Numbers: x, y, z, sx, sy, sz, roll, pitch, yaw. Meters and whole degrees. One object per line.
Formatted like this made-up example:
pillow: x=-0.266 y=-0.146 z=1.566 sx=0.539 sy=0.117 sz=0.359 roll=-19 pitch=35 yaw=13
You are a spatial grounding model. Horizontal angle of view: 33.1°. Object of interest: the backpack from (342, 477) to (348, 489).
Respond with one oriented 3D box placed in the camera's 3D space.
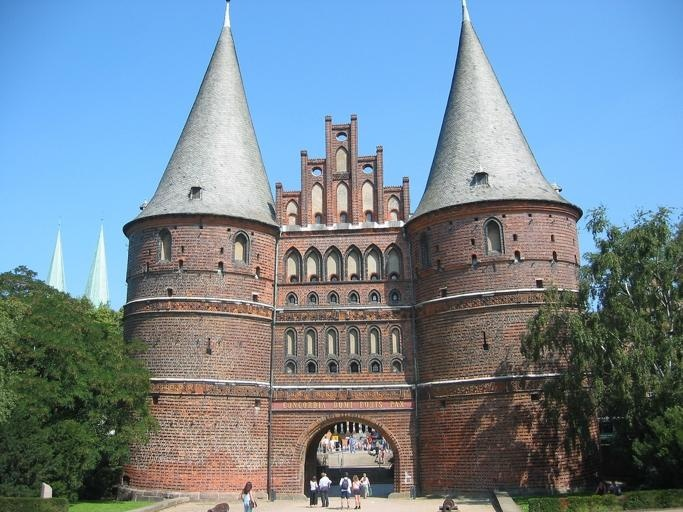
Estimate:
backpack: x=0.108 y=10.874 z=55.033 sx=0.436 sy=0.633 sz=0.347 roll=2 pitch=-20 yaw=-2
